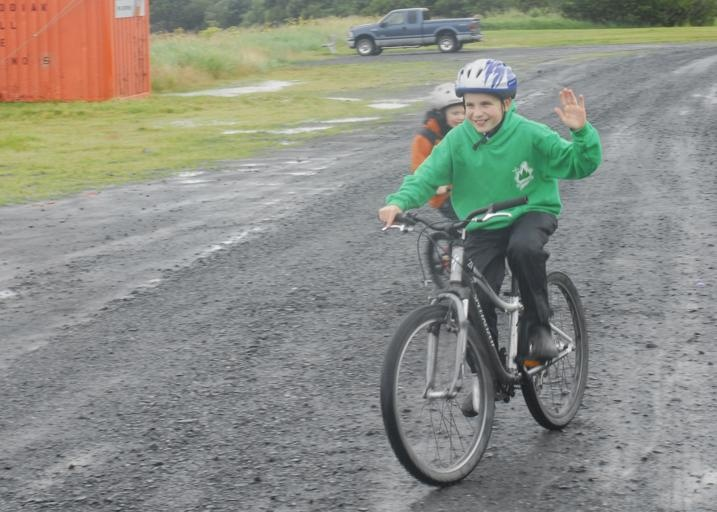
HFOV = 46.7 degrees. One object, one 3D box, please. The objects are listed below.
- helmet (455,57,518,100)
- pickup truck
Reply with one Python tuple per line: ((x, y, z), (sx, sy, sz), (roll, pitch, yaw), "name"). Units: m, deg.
((0.788, -1.144, 5.272), (0.353, 0.205, 0.434), (18, 32, 28), "helmet")
((2.866, -10.734, 39.941), (6.629, 1.463, 2.452), (2, 10, 13), "pickup truck")
